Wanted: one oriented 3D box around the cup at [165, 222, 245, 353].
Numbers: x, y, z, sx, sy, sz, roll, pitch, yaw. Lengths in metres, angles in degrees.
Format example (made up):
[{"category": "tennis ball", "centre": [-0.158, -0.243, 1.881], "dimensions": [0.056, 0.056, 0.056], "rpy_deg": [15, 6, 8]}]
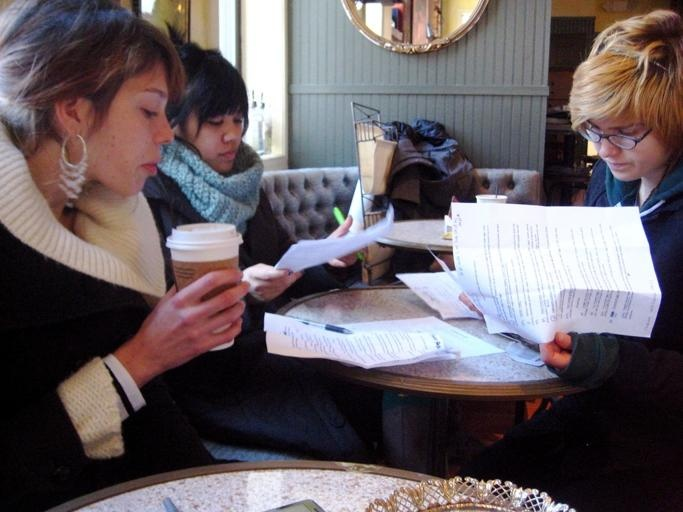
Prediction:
[{"category": "cup", "centre": [-0.222, 0.041, 1.002], "dimensions": [0.131, 0.185, 0.130], "rpy_deg": [-3, 18, 1]}]
